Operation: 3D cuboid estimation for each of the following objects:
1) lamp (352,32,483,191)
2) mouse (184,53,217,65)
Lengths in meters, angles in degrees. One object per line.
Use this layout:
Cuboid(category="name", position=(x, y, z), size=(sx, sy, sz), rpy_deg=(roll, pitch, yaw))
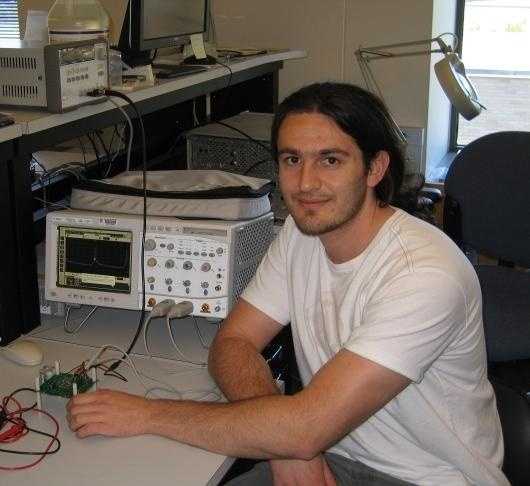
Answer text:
Cuboid(category="lamp", position=(0.689, -0.720, 2.351), size=(0.572, 0.585, 0.299), rpy_deg=(13, 15, 8))
Cuboid(category="mouse", position=(-0.283, -0.817, 2.186), size=(0.102, 0.034, 0.073), rpy_deg=(9, 24, 20))
